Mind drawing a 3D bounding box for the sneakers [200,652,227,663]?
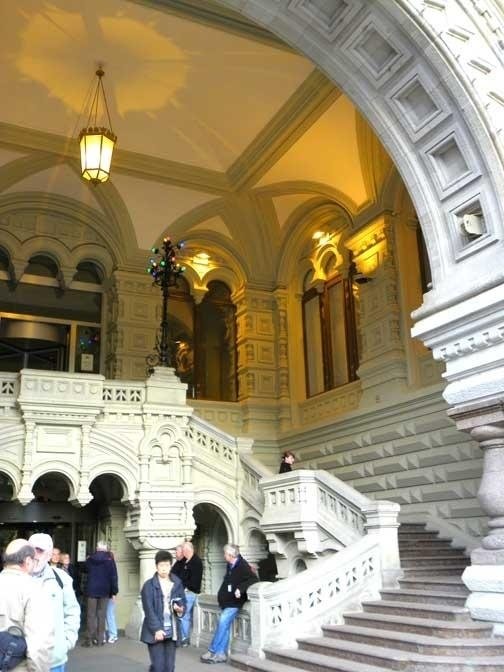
[{"bbox_3d":[-0.457,3.912,6.578,0.240,0.092,0.130,10,-18,-7],"label":"sneakers"}]

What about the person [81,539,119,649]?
[{"bbox_3d":[-2.386,4.048,8.496,0.479,1.507,0.384,2,-18,-13],"label":"person"}]

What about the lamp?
[{"bbox_3d":[-2.345,-3.317,8.263,0.587,1.829,0.488,2,-6,-5],"label":"lamp"}]

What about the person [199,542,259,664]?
[{"bbox_3d":[-0.286,3.351,6.802,0.716,1.331,0.674,-2,-18,-1],"label":"person"}]
